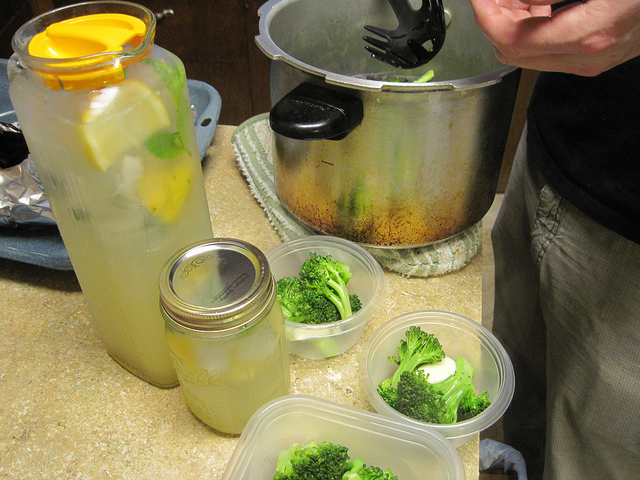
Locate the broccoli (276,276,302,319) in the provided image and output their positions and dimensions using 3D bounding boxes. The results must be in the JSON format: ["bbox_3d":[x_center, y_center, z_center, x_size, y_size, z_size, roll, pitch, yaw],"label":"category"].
[{"bbox_3d":[-0.041,0.094,0.925,0.052,0.030,0.043,-59,39,6],"label":"broccoli"}]

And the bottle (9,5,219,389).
[{"bbox_3d":[-0.282,-0.054,0.798,0.232,0.438,0.282,18,51,20],"label":"bottle"}]

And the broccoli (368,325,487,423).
[{"bbox_3d":[0.159,0.210,0.853,0.165,0.060,0.177,-4,35,-3],"label":"broccoli"}]

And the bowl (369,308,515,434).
[{"bbox_3d":[0.179,0.191,0.851,0.172,0.065,0.179,1,45,-1],"label":"bowl"}]

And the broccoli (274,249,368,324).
[{"bbox_3d":[0.021,0.072,0.928,0.093,0.053,0.116,-5,41,24],"label":"broccoli"}]

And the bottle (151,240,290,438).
[{"bbox_3d":[-0.124,0.140,0.784,0.156,0.250,0.158,-1,41,1],"label":"bottle"}]
